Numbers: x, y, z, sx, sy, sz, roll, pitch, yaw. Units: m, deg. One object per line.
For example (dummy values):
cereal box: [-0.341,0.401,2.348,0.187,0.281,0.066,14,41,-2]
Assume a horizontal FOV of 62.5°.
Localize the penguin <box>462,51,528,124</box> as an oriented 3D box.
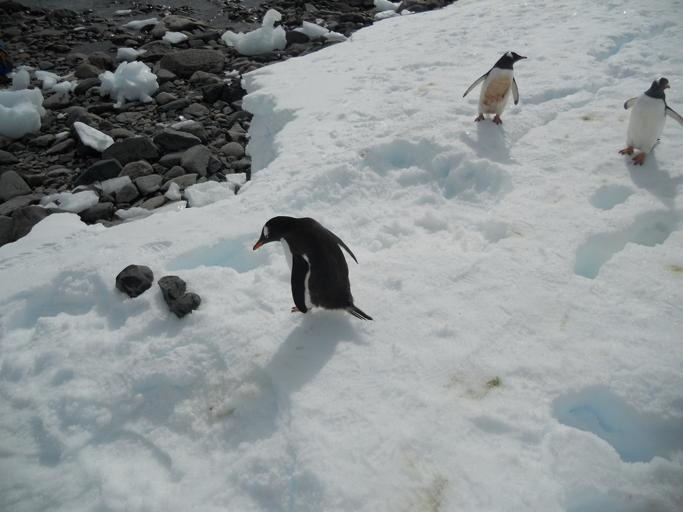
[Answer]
penguin: [1.980,-2.173,7.276,0.767,0.919,0.698,11,32,21]
